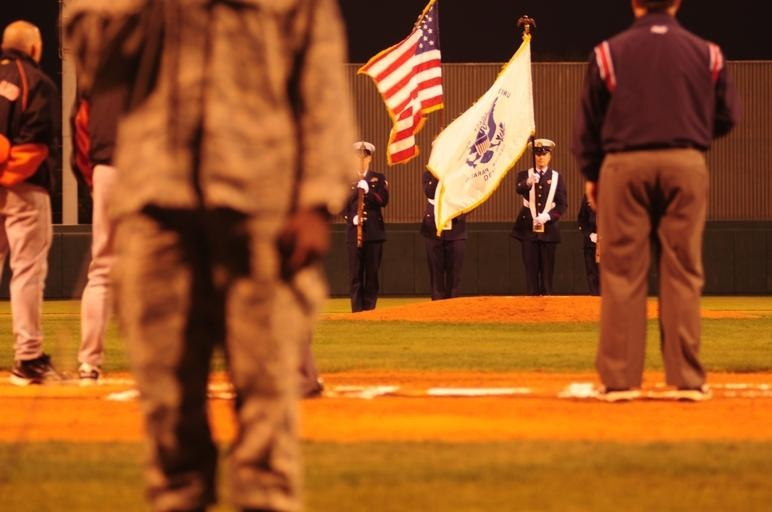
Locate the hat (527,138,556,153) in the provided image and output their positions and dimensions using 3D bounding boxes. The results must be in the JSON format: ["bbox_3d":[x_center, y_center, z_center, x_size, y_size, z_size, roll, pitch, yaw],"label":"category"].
[{"bbox_3d":[1.927,-1.346,20.192,0.483,0.164,0.448,0,0,1],"label":"hat"}]

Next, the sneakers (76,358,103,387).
[{"bbox_3d":[-2.307,0.939,12.864,0.222,0.167,0.158,0,1,-9],"label":"sneakers"}]

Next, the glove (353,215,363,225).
[{"bbox_3d":[-0.353,-0.402,19.223,0.127,0.100,0.116,3,-1,-25],"label":"glove"}]

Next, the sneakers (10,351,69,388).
[{"bbox_3d":[-2.725,0.871,13.079,0.201,0.225,0.592,32,23,35],"label":"sneakers"}]

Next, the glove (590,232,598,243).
[{"bbox_3d":[2.492,-0.203,19.747,0.110,0.097,0.078,24,-17,-1],"label":"glove"}]
